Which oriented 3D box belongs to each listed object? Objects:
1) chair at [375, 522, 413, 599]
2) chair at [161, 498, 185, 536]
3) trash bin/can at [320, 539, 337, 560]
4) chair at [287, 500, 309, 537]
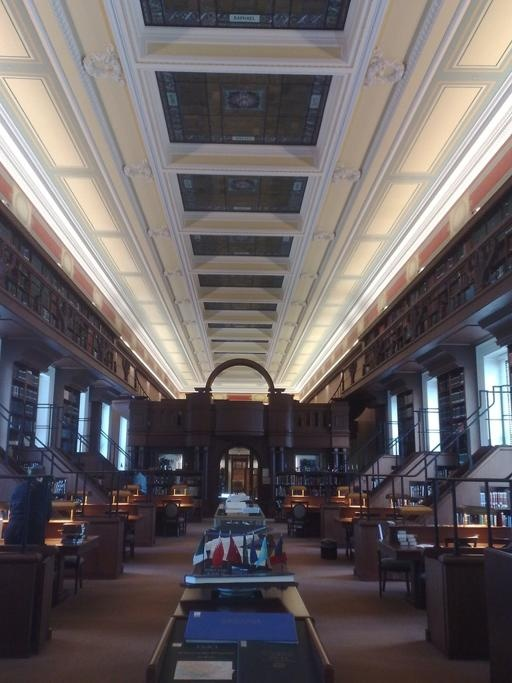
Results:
[{"bbox_3d":[1.567,2.462,5.561,0.485,0.705,0.500,-12,-27,34],"label":"chair"},{"bbox_3d":[-1.837,3.927,10.792,0.513,0.703,0.869,2,-14,-4],"label":"chair"},{"bbox_3d":[1.184,3.439,8.135,0.281,0.292,0.283,-6,-14,40],"label":"trash bin/can"},{"bbox_3d":[0.947,4.017,11.013,0.444,0.733,0.734,0,-14,4],"label":"chair"}]
